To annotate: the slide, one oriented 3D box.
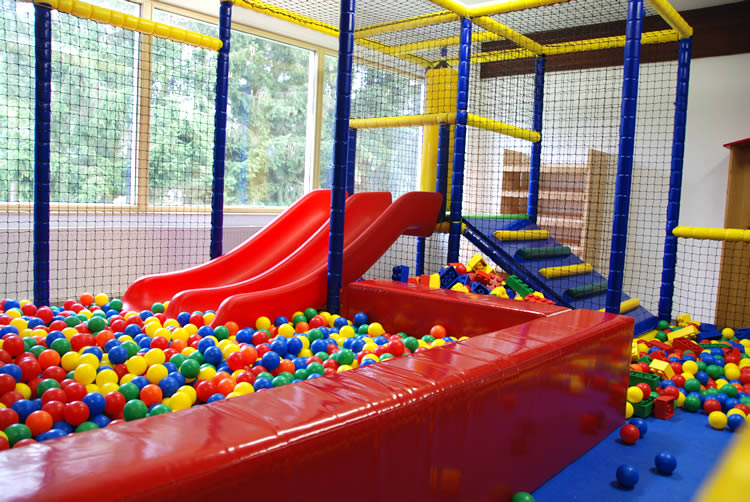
[{"bbox_3d":[-0.568,0.055,5.198,2.237,0.852,1.138,-8,10,-44],"label":"slide"}]
